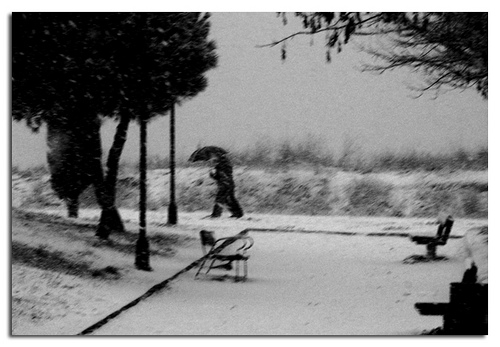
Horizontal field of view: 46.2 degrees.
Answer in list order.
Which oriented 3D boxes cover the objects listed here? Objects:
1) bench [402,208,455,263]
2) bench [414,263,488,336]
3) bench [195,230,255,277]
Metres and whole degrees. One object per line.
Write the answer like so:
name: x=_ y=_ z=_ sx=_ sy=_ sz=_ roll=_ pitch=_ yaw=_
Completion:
bench: x=2.568 y=0.924 z=8.756 sx=0.777 sy=0.776 sz=0.838 roll=1 pitch=-6 yaw=5
bench: x=2.884 y=1.872 z=8.851 sx=1.174 sy=1.096 sz=0.940 roll=-1 pitch=0 yaw=14
bench: x=-0.398 y=1.133 z=8.502 sx=0.937 sy=0.635 sz=0.654 roll=-4 pitch=4 yaw=-16
